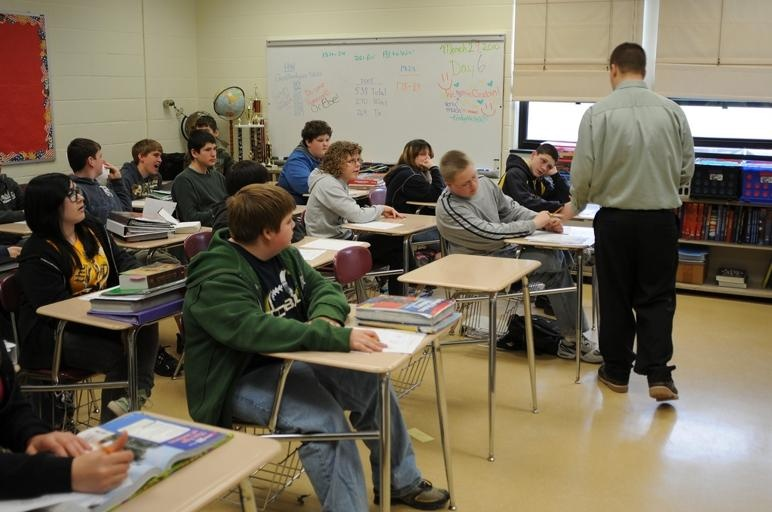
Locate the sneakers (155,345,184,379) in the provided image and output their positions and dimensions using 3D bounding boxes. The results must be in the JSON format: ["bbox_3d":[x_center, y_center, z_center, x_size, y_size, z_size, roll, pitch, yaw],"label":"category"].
[{"bbox_3d":[-1.664,0.796,4.151,0.368,0.147,0.125,3,9,35],"label":"sneakers"}]

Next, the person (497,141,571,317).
[{"bbox_3d":[1.354,-0.369,5.291,0.556,1.301,0.735,-10,28,-37],"label":"person"}]

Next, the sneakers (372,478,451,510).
[{"bbox_3d":[0.133,1.181,2.842,0.377,0.171,0.151,-1,4,2],"label":"sneakers"}]

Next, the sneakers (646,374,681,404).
[{"bbox_3d":[1.775,0.865,3.570,0.108,0.133,0.275,-4,-7,29],"label":"sneakers"}]

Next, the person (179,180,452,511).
[{"bbox_3d":[-0.394,0.494,2.503,0.938,1.585,0.622,4,11,20],"label":"person"}]

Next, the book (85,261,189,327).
[{"bbox_3d":[-1.158,0.185,2.595,0.302,0.128,0.414,9,14,19],"label":"book"}]

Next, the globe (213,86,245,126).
[{"bbox_3d":[-2.103,-2.042,7.659,0.451,0.374,0.453,-5,20,12],"label":"globe"}]

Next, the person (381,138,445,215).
[{"bbox_3d":[0.323,-0.694,5.673,0.628,0.935,0.486,-2,16,19],"label":"person"}]

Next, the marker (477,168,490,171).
[{"bbox_3d":[1.163,-1.019,6.632,0.122,0.032,0.023,5,37,35],"label":"marker"}]

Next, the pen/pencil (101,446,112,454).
[{"bbox_3d":[-0.824,0.576,1.637,0.027,0.006,0.027,1,12,-39],"label":"pen/pencil"}]

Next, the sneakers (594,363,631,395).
[{"bbox_3d":[1.593,0.866,3.909,0.101,0.112,0.259,-2,9,-10],"label":"sneakers"}]

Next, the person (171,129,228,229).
[{"bbox_3d":[-1.606,-0.689,5.090,0.572,0.830,0.660,15,19,27],"label":"person"}]

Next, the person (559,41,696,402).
[{"bbox_3d":[1.679,-0.250,3.996,0.857,2.329,0.961,-15,16,-43],"label":"person"}]

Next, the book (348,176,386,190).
[{"bbox_3d":[-0.213,-0.766,5.970,0.304,0.073,0.303,5,11,23],"label":"book"}]

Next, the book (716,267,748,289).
[{"bbox_3d":[3.479,0.228,5.588,0.266,0.155,0.251,7,12,32],"label":"book"}]

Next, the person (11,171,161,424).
[{"bbox_3d":[-1.680,0.269,3.238,0.747,1.424,0.612,2,18,-3],"label":"person"}]

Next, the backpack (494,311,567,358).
[{"bbox_3d":[1.142,0.629,4.454,0.416,0.166,0.325,1,4,14],"label":"backpack"}]
